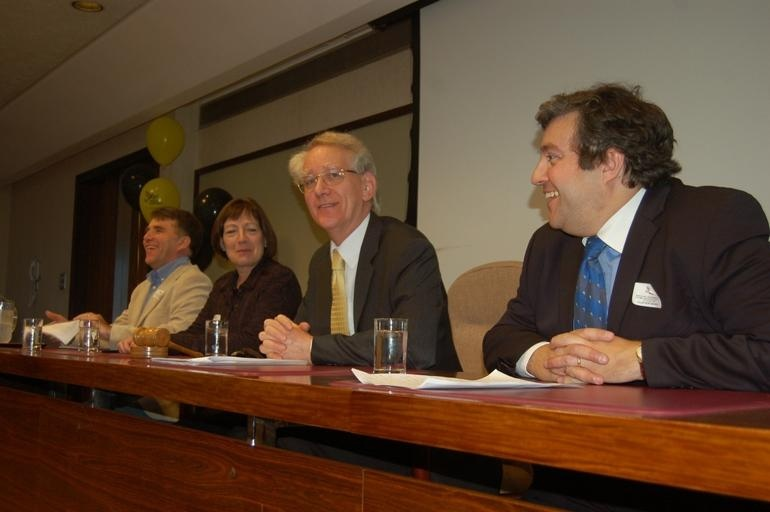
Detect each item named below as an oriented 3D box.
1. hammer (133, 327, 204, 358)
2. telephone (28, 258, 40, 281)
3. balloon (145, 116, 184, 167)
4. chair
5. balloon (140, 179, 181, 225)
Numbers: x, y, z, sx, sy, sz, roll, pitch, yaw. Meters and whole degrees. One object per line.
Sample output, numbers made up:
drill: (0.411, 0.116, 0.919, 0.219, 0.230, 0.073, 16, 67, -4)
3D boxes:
hammer: (-0.854, 0.346, 2.260, 0.139, 0.082, 0.275, -5, -14, 21)
telephone: (-4.821, 0.206, 7.875, 0.323, 0.309, 0.076, -11, -13, 43)
balloon: (-2.014, -1.046, 5.222, 0.314, 0.403, 0.212, -4, -10, 17)
chair: (0.411, 0.330, 2.679, 0.460, 0.663, 0.434, -4, -17, 11)
balloon: (-2.049, -0.452, 5.235, 0.414, 0.436, 0.170, 18, 7, 24)
